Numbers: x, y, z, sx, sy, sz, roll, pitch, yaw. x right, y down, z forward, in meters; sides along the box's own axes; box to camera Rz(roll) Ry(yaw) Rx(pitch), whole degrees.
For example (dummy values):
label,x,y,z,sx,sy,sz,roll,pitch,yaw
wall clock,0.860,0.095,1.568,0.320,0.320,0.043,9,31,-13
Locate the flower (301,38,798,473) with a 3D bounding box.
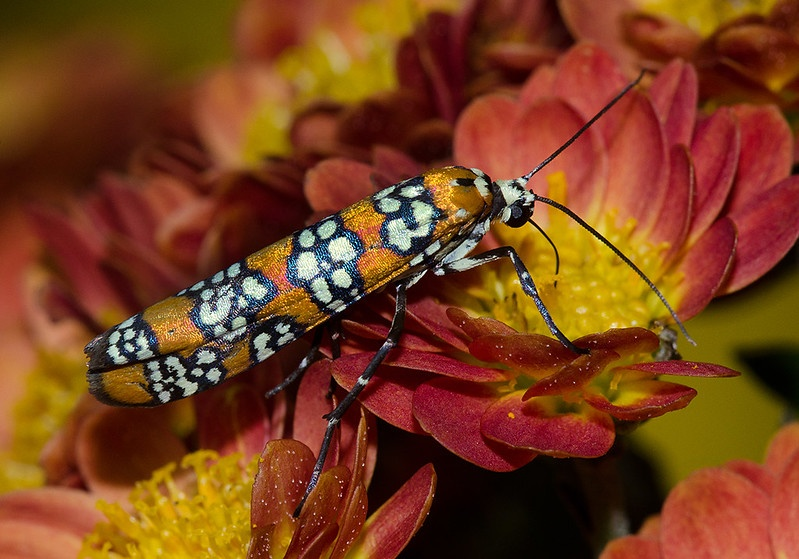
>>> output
label,x,y,z,sx,sy,sz,roll,pitch,yaw
flower,0.194,0.009,1.072,0.560,0.230,0.528,-3,60,16
